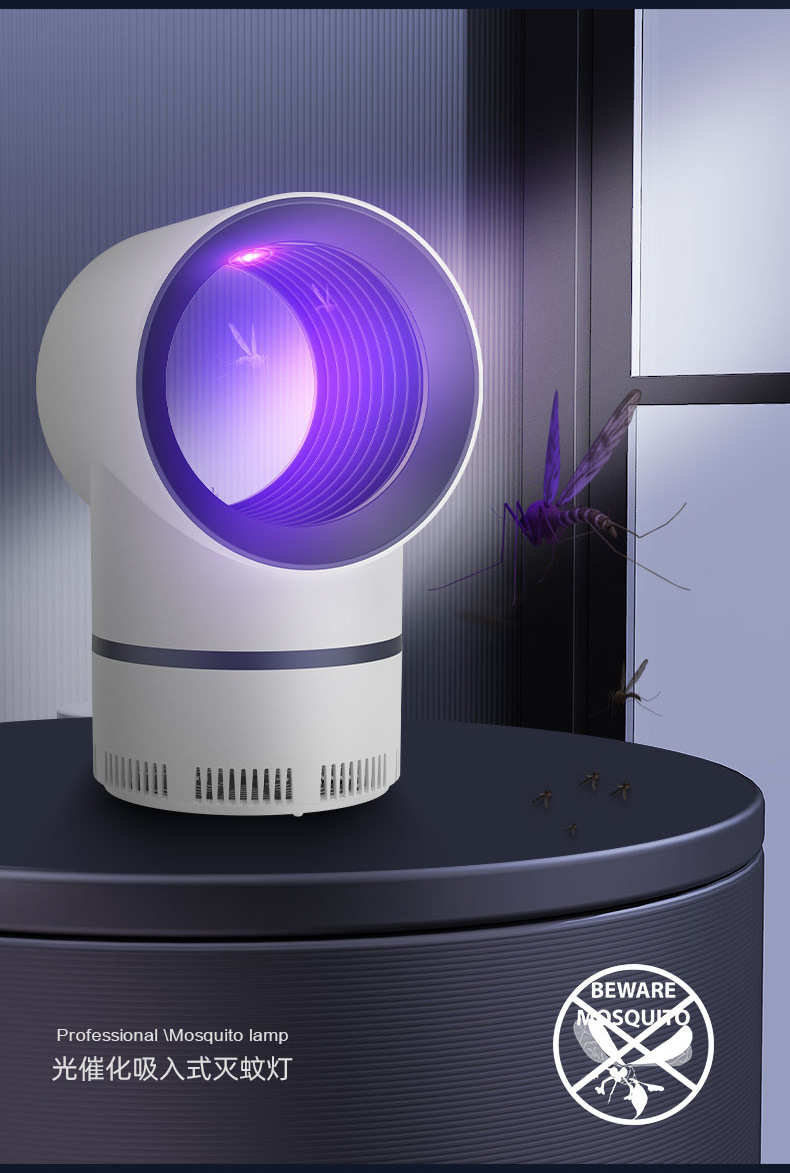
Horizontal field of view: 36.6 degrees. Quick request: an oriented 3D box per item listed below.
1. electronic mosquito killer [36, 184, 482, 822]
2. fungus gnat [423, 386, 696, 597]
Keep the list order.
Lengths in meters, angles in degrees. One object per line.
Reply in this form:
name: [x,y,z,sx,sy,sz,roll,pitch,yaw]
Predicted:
electronic mosquito killer: [-0.079,-0.039,0.603,0.184,0.289,0.209,-2,8,-24]
fungus gnat: [0.188,-0.103,1.436,0.185,0.148,0.213,8,19,17]
